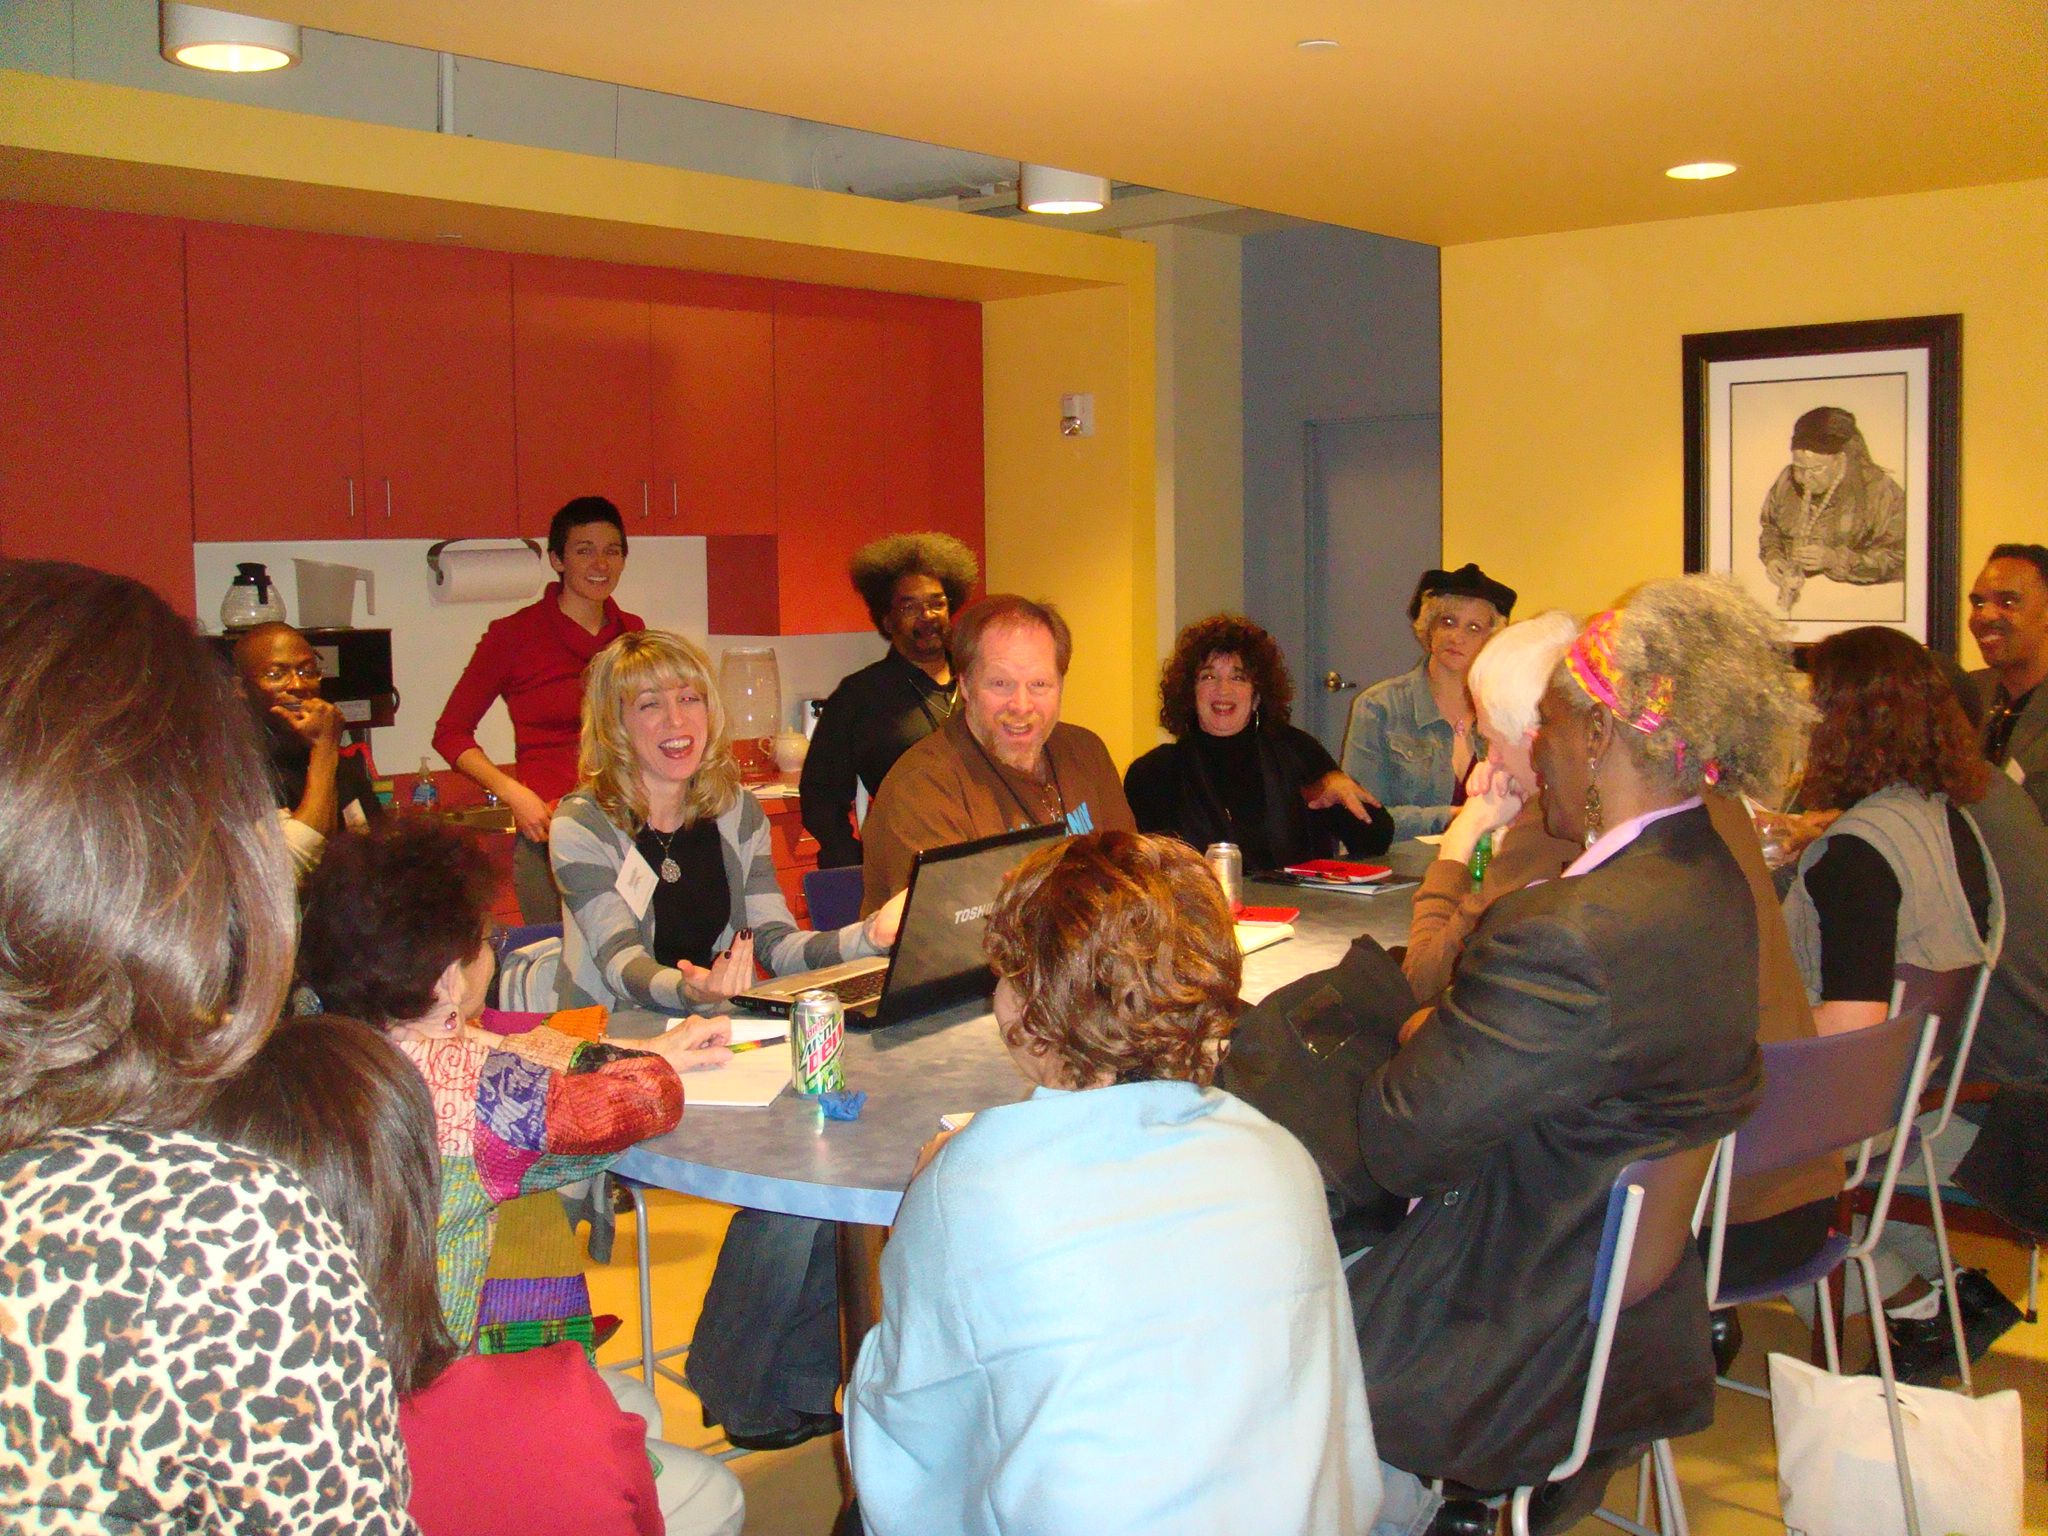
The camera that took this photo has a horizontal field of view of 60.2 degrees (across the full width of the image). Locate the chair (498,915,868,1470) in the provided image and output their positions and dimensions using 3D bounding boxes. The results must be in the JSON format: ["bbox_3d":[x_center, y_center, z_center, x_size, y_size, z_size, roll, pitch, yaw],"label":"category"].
[{"bbox_3d":[-0.526,0.876,3.027,0.405,0.665,0.386,0,16,-8],"label":"chair"}]

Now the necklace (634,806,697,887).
[{"bbox_3d":[-0.688,0.164,3.420,0.027,0.115,0.119,-13,-6,37],"label":"necklace"}]

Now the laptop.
[{"bbox_3d":[-0.152,0.266,2.925,0.360,0.265,0.433,6,11,32],"label":"laptop"}]

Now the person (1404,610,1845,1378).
[{"bbox_3d":[1.018,0.393,2.906,0.427,1.042,0.506,-26,29,-34],"label":"person"}]

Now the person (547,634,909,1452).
[{"bbox_3d":[-0.542,0.542,3.349,0.801,1.578,0.570,2,9,31],"label":"person"}]

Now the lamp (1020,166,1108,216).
[{"bbox_3d":[0.126,-1.659,5.102,0.202,0.127,0.205,0,9,5],"label":"lamp"}]

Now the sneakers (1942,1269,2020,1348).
[{"bbox_3d":[1.939,1.088,3.552,0.084,0.099,0.254,-9,-18,24],"label":"sneakers"}]

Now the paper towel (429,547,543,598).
[{"bbox_3d":[-1.789,-0.655,5.926,0.354,0.214,0.178,-9,6,-34],"label":"paper towel"}]
